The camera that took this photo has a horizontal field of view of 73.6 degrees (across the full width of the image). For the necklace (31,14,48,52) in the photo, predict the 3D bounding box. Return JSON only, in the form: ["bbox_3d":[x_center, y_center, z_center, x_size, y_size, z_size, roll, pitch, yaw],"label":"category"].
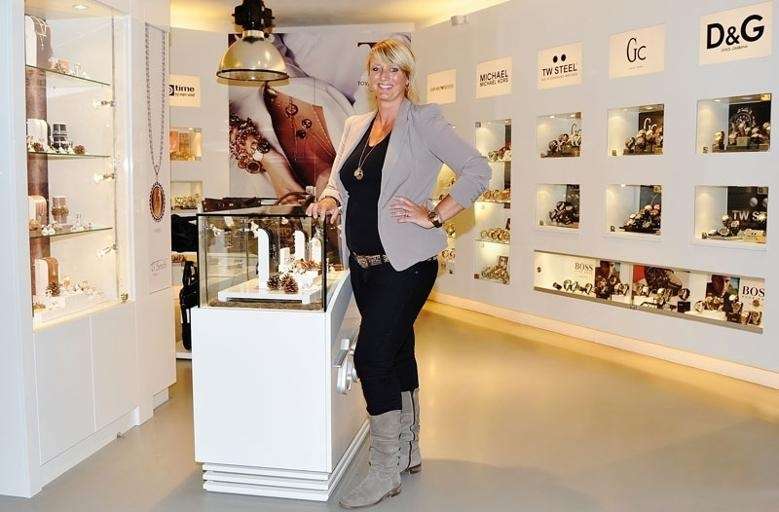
[{"bbox_3d":[-2.227,-1.432,3.333,0.094,0.198,0.088,-7,12,-40],"label":"necklace"}]

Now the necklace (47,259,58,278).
[{"bbox_3d":[-2.259,0.066,3.491,0.041,0.117,0.075,6,11,35],"label":"necklace"}]

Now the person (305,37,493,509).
[{"bbox_3d":[0.085,0.092,3.070,0.758,2.669,0.487,-1,9,-6],"label":"person"}]
